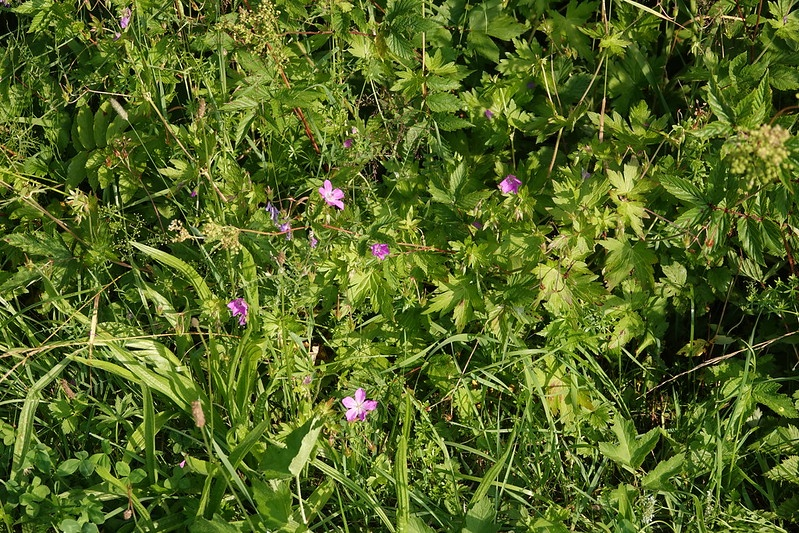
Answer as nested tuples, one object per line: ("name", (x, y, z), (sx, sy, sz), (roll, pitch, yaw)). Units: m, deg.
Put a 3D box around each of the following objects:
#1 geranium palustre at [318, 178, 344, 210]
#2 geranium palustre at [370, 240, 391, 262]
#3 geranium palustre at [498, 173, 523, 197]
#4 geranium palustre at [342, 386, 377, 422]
("geranium palustre", (-0.287, -0.303, 3.170), (0.103, 0.049, 0.123), (-26, 103, -24))
("geranium palustre", (-0.081, -0.062, 3.194), (0.079, 0.044, 0.057), (3, 65, 3))
("geranium palustre", (0.491, -0.367, 3.324), (0.095, 0.095, 0.123), (13, 66, 8))
("geranium palustre", (-0.182, 0.556, 3.162), (0.147, 0.152, 0.067), (-11, 87, -24))
